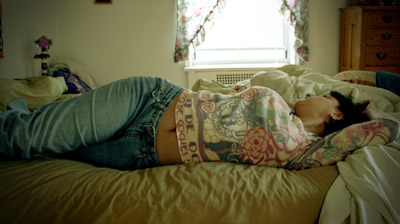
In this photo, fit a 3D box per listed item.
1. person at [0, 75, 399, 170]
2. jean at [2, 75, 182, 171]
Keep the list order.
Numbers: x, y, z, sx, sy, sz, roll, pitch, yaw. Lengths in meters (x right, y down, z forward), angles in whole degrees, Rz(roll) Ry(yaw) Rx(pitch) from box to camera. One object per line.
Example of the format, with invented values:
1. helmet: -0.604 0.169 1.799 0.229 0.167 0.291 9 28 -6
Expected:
1. person: 0.100 0.102 2.313 2.983 0.596 0.971 5 3 -3
2. jean: -0.725 0.078 2.382 1.380 0.451 0.545 5 4 1
